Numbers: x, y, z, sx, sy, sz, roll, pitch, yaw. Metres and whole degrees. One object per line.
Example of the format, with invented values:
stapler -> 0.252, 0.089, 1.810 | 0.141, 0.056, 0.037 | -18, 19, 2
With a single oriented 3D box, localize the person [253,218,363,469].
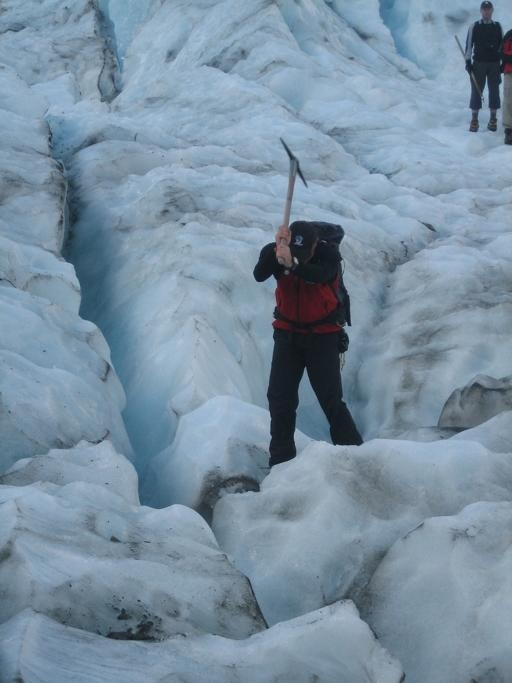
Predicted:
person -> 0.246, -0.027, 4.136 | 0.499, 1.141, 0.901 | -8, 21, 6

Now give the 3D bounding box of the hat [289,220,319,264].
hat -> 0.238, -0.466, 3.988 | 0.149, 0.103, 0.198 | 6, 50, 9

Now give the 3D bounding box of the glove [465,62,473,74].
glove -> 2.289, -2.948, 8.996 | 0.058, 0.131, 0.179 | -3, 20, 17
